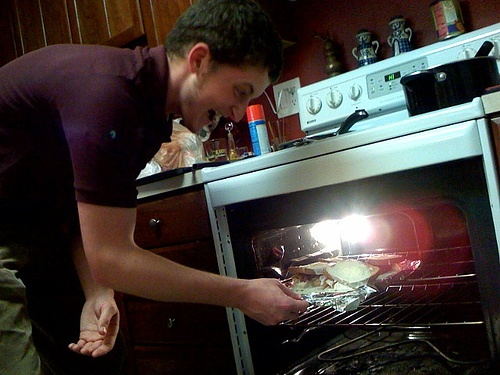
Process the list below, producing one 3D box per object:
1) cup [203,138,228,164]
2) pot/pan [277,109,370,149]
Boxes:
[{"bbox_3d":[-0.143,-0.152,1.582,0.126,0.138,0.118,-1,1,0],"label":"cup"},{"bbox_3d":[0.228,-0.181,1.149,0.234,0.088,0.171,-8,9,36],"label":"pot/pan"}]
